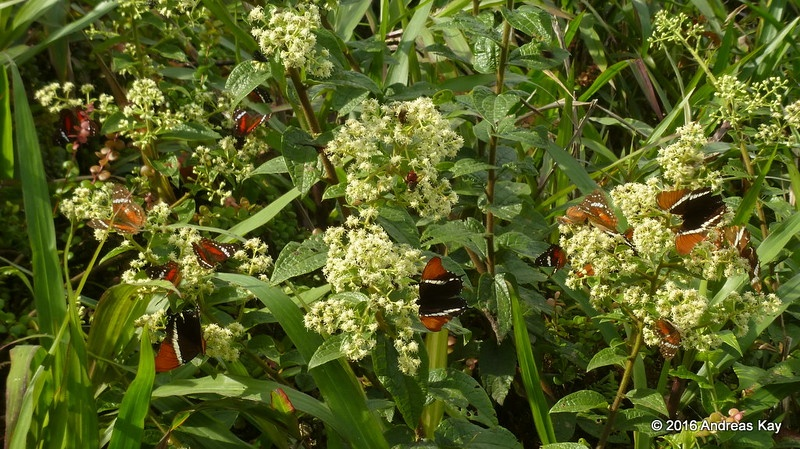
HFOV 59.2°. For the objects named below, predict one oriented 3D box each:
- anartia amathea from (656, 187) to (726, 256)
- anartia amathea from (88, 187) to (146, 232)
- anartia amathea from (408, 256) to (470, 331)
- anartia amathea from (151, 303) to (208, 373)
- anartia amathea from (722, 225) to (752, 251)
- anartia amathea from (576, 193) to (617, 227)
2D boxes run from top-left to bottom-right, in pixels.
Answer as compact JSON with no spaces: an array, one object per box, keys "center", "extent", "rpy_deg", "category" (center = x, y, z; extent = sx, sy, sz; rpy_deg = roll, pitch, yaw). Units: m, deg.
[{"center":[1.234,-0.023,3.057],"extent":[0.284,0.307,0.055],"rpy_deg":[15,15,10],"category":"anartia amathea"},{"center":[-1.334,-0.065,3.327],"extent":[0.226,0.222,0.098],"rpy_deg":[24,-1,21],"category":"anartia amathea"},{"center":[0.161,0.318,3.101],"extent":[0.257,0.414,0.127],"rpy_deg":[-8,25,22],"category":"anartia amathea"},{"center":[-1.005,0.536,3.260],"extent":[0.211,0.311,0.165],"rpy_deg":[8,15,-15],"category":"anartia amathea"},{"center":[1.509,0.055,3.170],"extent":[0.116,0.106,0.069],"rpy_deg":[19,16,25],"category":"anartia amathea"},{"center":[0.909,-0.072,3.254],"extent":[0.166,0.095,0.176],"rpy_deg":[34,40,28],"category":"anartia amathea"}]
